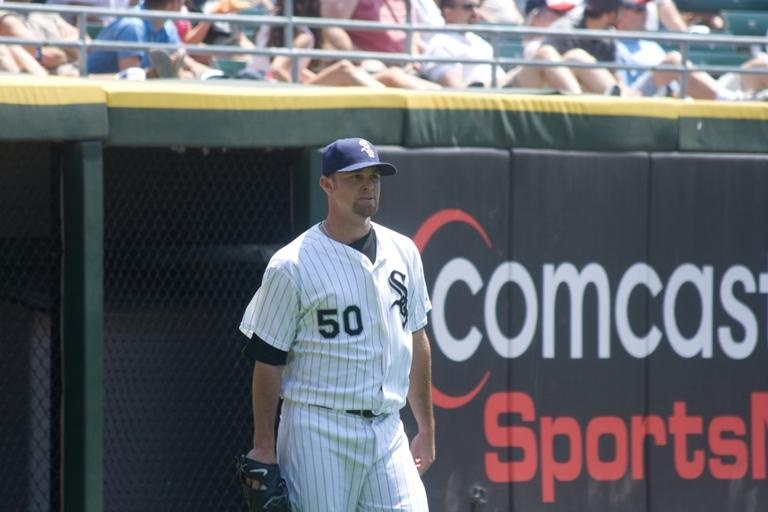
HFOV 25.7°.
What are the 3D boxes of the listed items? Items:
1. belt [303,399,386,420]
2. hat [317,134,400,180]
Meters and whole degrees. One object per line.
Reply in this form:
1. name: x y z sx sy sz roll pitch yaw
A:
1. belt: -0.193 0.847 9.411 0.430 0.101 0.113 -1 -5 -22
2. hat: -0.177 -0.555 9.472 0.295 0.173 0.230 -10 -5 42
